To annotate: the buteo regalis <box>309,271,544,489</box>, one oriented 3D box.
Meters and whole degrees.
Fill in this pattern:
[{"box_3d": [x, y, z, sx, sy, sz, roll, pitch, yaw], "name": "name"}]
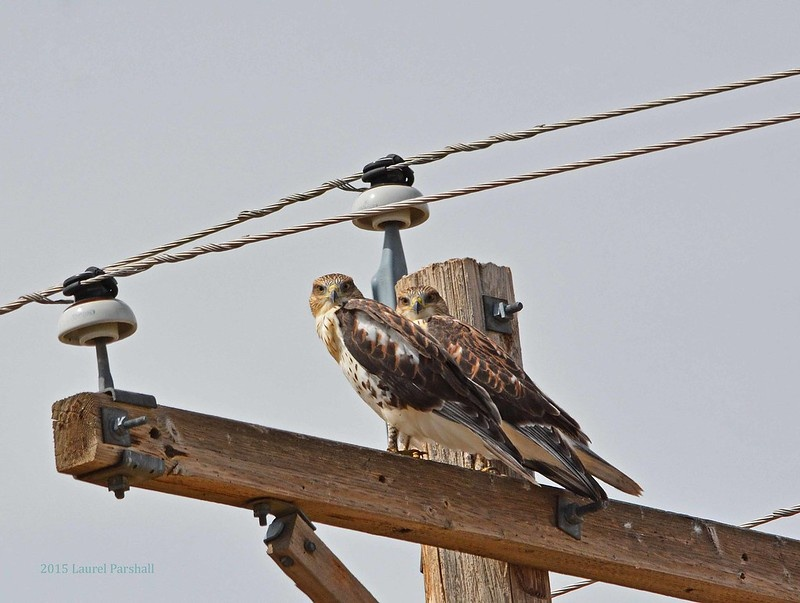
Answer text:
[{"box_3d": [0.096, 0.320, 8.956, 1.202, 0.753, 0.441, 11, -7, 28], "name": "buteo regalis"}]
